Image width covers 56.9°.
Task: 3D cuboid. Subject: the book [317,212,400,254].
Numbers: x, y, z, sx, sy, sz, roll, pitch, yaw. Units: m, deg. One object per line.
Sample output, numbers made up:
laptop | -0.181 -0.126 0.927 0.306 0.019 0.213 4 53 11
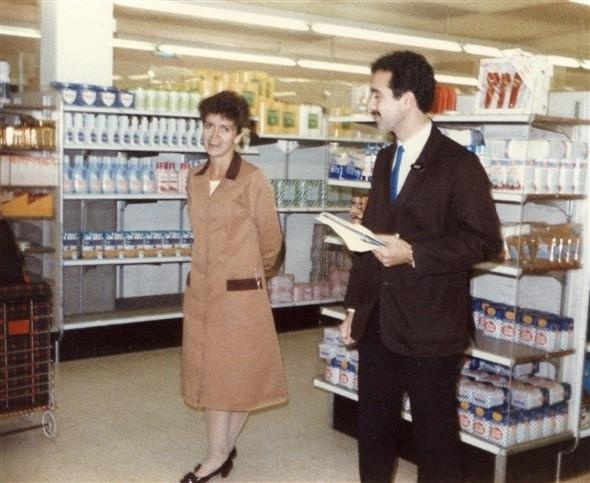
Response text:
book | 0.213 -0.011 2.115 0.152 0.044 0.218 -29 42 -21

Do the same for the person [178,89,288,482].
person | -0.307 0.262 2.828 0.544 2.083 0.375 1 7 -12
